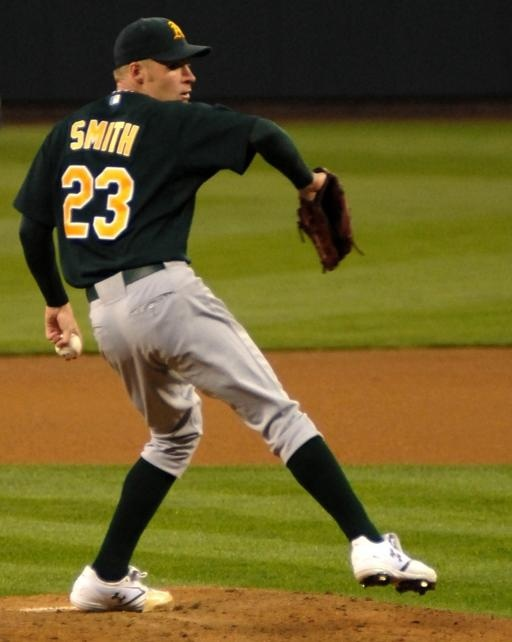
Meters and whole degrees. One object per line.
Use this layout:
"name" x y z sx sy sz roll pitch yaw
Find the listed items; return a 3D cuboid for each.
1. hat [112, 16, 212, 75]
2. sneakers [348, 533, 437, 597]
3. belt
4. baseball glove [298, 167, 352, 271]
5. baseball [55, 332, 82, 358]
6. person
"hat" -0.359 -1.038 4.133 0.364 0.178 0.247 -4 10 23
"sneakers" 0.474 0.827 3.843 0.337 0.179 0.122 14 -28 -28
"belt" -0.421 -0.118 3.920 0.166 0.043 0.181 -23 0 -9
"baseball glove" 0.266 -0.380 4.136 0.239 0.351 0.174 -11 6 -30
"baseball" -0.729 0.079 4.338 0.078 0.103 0.065 -36 -12 25
"person" -0.198 0.120 4.071 1.466 1.913 0.539 2 12 18
